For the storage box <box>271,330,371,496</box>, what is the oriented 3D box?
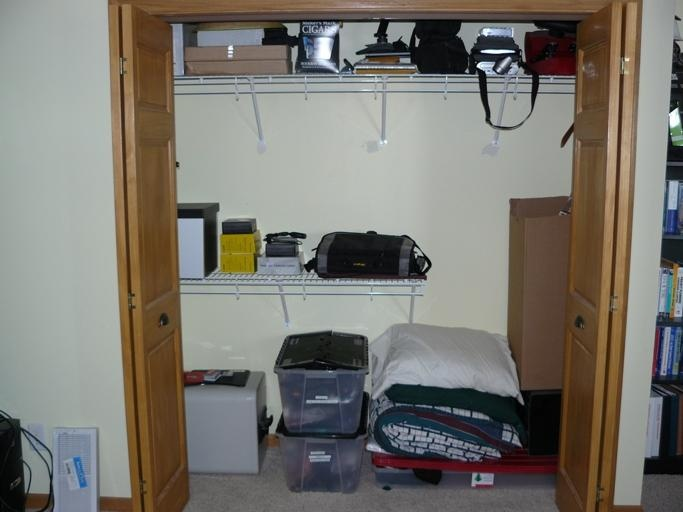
[{"bbox_3d":[-0.103,0.902,3.463,0.516,0.776,0.400,1,8,4],"label":"storage box"}]
